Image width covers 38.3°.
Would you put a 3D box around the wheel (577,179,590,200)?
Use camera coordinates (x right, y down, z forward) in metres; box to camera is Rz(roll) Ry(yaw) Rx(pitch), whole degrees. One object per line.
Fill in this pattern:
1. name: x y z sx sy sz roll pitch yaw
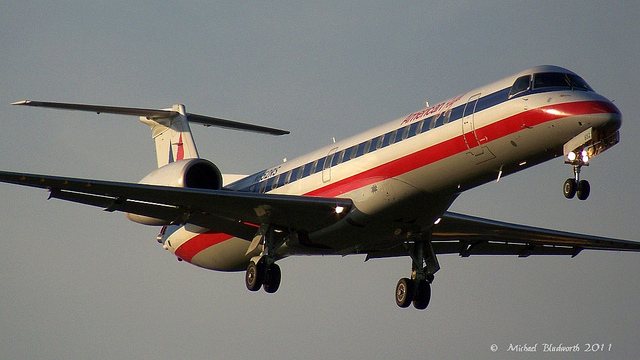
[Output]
1. wheel: 6.734 0.248 23.711 0.264 0.715 0.818 1 -34 14

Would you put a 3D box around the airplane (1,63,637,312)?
1. airplane: 0.481 0.184 25.956 10.962 3.629 11.261 8 -21 -43

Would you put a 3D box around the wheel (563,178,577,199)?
1. wheel: 6.457 0.159 23.883 0.328 0.473 0.574 1 -34 14
